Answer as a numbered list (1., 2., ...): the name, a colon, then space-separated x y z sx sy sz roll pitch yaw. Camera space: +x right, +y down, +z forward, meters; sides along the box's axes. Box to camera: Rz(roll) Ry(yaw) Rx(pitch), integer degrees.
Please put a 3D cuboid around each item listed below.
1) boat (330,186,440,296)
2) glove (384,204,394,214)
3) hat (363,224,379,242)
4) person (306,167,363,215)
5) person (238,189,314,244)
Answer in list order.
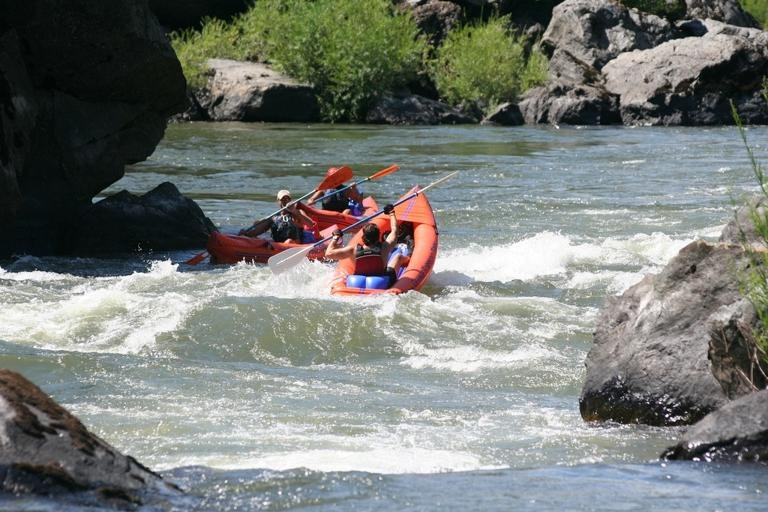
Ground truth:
1. boat: 0.288 -0.205 36.333 2.137 2.128 4.037 1 -1 1
2. glove: 0.046 -1.095 37.071 0.240 0.281 0.099 0 -2 3
3. hat: -0.350 -0.510 35.664 0.370 0.462 0.218 -1 15 0
4. person: -1.310 -1.606 40.281 0.827 1.731 1.198 -12 -31 -11
5. person: -2.726 -0.935 39.242 0.818 1.272 2.082 -4 -9 0
